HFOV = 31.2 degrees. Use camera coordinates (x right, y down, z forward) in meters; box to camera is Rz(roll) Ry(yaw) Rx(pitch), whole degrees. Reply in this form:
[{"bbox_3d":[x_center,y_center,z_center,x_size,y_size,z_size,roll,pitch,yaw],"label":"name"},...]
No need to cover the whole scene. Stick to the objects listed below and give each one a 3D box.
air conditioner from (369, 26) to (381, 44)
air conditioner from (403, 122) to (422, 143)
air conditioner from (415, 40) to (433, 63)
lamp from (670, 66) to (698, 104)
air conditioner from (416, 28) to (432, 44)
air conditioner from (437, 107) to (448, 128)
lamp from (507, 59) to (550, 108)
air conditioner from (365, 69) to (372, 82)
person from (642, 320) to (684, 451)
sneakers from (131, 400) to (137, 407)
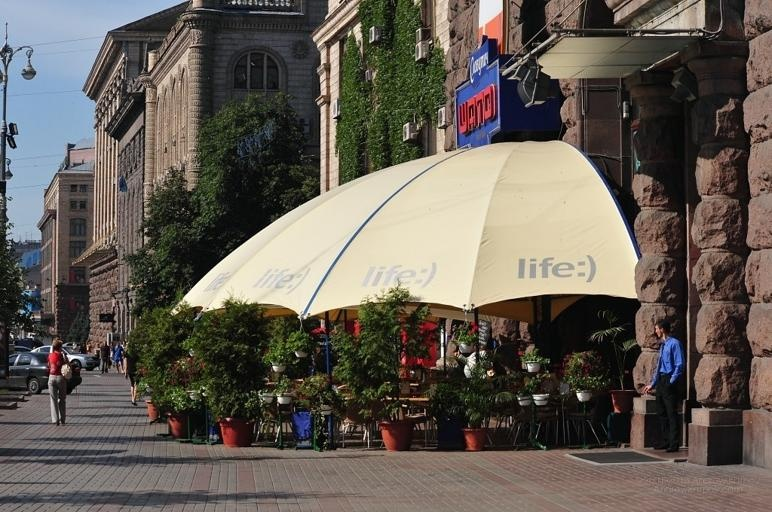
[{"bbox_3d":[-0.392,-7.522,47.036,0.307,0.533,0.544,6,-16,-17],"label":"air conditioner"},{"bbox_3d":[0.815,-4.015,44.951,0.525,0.842,0.995,3,-6,-7],"label":"air conditioner"},{"bbox_3d":[1.204,-6.522,43.991,0.350,0.621,0.651,11,-21,-16],"label":"air conditioner"},{"bbox_3d":[6.556,-3.774,30.393,0.526,0.706,0.518,-1,-9,7],"label":"lamp"},{"bbox_3d":[1.090,-7.119,44.552,0.501,0.481,0.513,-4,-4,41],"label":"air conditioner"},{"bbox_3d":[1.728,-4.258,42.434,0.245,0.680,0.734,2,-5,-4],"label":"air conditioner"},{"bbox_3d":[3.251,-3.910,31.739,1.015,1.232,0.848,1,-2,-3],"label":"lamp"},{"bbox_3d":[-0.646,-6.330,48.435,0.276,0.431,0.492,1,-3,-13],"label":"air conditioner"},{"bbox_3d":[6.237,2.827,30.676,0.679,2.886,0.630,-2,-9,12],"label":"person"},{"bbox_3d":[-7.977,4.610,43.712,0.145,0.281,0.406,4,-9,-30],"label":"sneakers"}]
